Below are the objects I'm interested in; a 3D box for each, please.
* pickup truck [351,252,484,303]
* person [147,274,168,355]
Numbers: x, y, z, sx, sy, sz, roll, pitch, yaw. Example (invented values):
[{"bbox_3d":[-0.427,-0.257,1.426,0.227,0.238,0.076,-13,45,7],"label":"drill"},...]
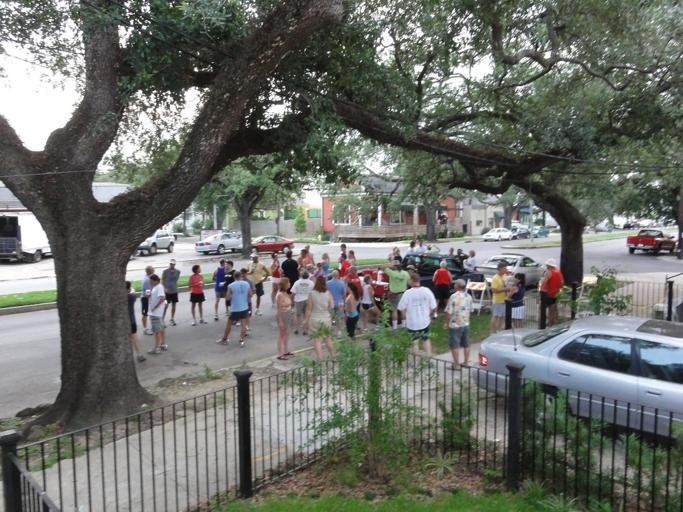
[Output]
[{"bbox_3d":[2.196,0.833,20.243,3.310,1.413,1.721,-7,9,-29],"label":"pickup truck"},{"bbox_3d":[-4.480,1.381,15.701,0.406,1.887,1.166,-4,3,-15],"label":"person"}]
